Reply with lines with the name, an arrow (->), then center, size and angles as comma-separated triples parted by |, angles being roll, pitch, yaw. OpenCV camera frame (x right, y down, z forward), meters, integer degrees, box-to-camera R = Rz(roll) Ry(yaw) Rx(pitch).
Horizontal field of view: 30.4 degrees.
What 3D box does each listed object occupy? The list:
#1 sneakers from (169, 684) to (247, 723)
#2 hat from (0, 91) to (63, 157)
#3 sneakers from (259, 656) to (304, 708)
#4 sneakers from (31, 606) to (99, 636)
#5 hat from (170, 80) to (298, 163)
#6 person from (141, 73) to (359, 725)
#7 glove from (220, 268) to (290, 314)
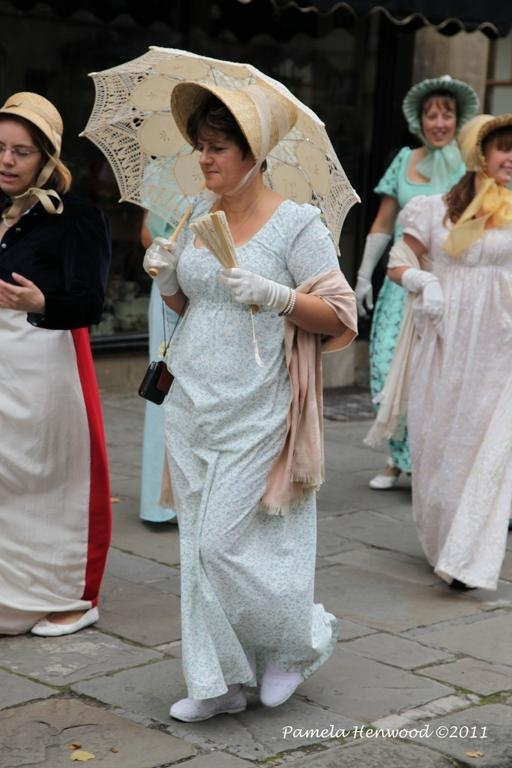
sneakers -> -0.131, 0.912, 2.720 | 0.263, 0.091, 0.082 | 1, -1, -31
hat -> -0.767, -0.877, 3.159 | 0.187, 0.203, 0.296 | 1, 15, -8
sneakers -> 0.056, 0.861, 2.737 | 0.087, 0.064, 0.167 | -14, 14, 34
sneakers -> -0.679, 0.842, 3.349 | 0.077, 0.058, 0.194 | 3, 0, 43
hat -> -0.054, -0.729, 2.602 | 0.316, 0.213, 0.444 | -7, 18, -33
person -> -0.029, 0.087, 2.630 | 0.589, 1.803, 0.721 | 1, 18, -9
glove -> 0.001, -0.235, 2.404 | 0.189, 0.119, 0.069 | 3, 17, -2
